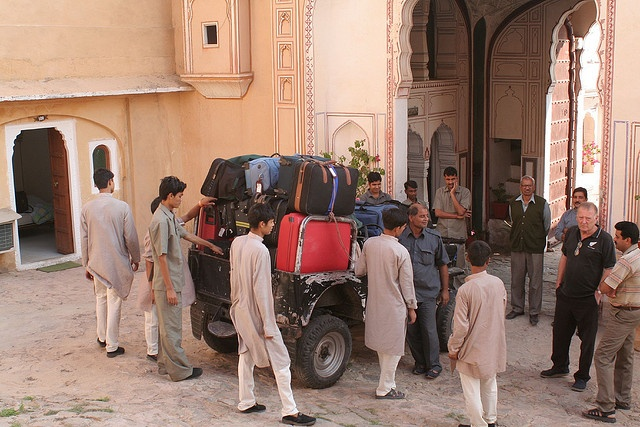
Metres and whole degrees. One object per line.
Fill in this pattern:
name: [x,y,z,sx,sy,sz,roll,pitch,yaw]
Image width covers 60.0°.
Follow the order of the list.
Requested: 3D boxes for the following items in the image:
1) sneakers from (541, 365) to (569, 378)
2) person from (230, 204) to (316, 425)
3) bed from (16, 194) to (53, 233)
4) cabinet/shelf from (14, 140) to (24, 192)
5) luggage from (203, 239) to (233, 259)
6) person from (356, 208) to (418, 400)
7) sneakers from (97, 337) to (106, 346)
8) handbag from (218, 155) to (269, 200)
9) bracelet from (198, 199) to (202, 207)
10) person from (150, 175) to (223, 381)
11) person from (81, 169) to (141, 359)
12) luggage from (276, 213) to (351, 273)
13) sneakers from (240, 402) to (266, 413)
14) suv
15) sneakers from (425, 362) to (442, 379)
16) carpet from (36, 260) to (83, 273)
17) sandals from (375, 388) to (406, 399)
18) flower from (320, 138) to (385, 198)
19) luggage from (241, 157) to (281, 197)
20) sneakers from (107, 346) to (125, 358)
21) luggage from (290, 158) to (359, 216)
sneakers: [3.039,2.039,7.226,0.370,0.156,0.136,0,22,5]
person: [-0.610,1.064,5.897,1.009,2.284,0.389,9,14,31]
bed: [-7.188,0.010,14.192,1.006,0.266,0.987,-8,22,5]
cabinet/shelf: [-8.034,-1.288,14.720,0.077,1.448,0.275,12,13,28]
luggage: [-1.284,0.425,7.177,0.292,0.079,0.286,11,11,23]
person: [0.772,1.057,6.473,0.703,2.236,0.367,3,12,7]
sneakers: [-3.035,1.762,7.643,0.121,0.115,0.095,0,11,-3]
handbag: [-0.981,-0.544,7.454,0.607,0.637,0.496,6,-3,38]
bracelet: [-1.613,-0.135,7.344,0.067,0.094,0.089,6,7,16]
person: [-1.740,0.790,6.643,0.527,2.425,0.523,-6,14,-33]
person: [-2.753,0.653,7.264,0.792,2.453,0.463,1,12,-3]
luggage: [-0.025,0.341,6.820,0.848,0.686,0.459,2,5,-38]
sneakers: [-0.733,2.102,6.061,0.255,0.108,0.102,-5,19,-15]
suv: [-0.011,0.791,7.436,2.791,1.553,1.805,-13,19,-39]
sneakers: [1.467,2.012,7.117,0.101,0.112,0.281,8,11,30]
carpet: [-5.352,1.089,11.350,0.530,0.043,0.754,12,15,43]
sandals: [0.846,2.138,6.596,0.341,0.141,0.130,-1,8,-3]
flower: [0.591,-0.962,10.563,1.205,1.129,1.089,-2,25,-3]
luggage: [-0.772,-0.491,7.152,0.529,0.511,0.560,-5,7,-5]
sneakers: [-2.695,1.837,7.325,0.239,0.108,0.101,-14,24,-36]
luggage: [0.053,-0.326,6.786,0.751,0.692,0.529,1,9,-35]
